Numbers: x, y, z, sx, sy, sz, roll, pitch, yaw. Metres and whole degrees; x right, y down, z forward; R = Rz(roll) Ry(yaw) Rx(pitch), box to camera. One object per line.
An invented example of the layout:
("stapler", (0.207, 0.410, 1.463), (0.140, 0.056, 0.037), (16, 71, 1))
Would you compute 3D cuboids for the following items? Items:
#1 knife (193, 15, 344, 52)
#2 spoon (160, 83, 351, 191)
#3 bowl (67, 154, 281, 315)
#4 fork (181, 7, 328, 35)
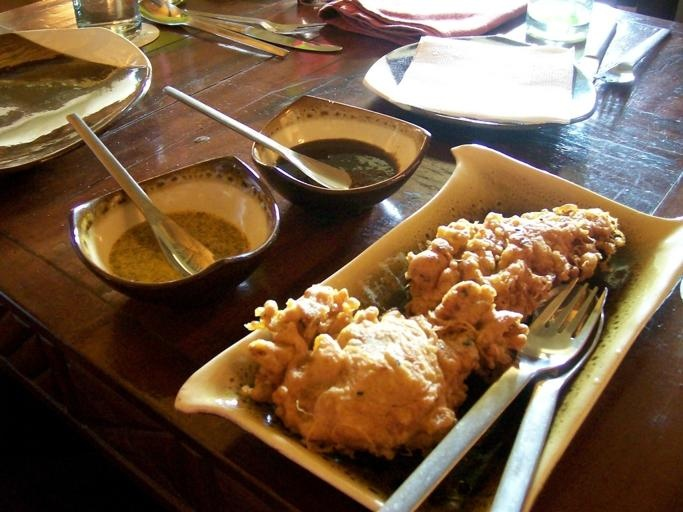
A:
("knife", (-0.186, -0.554, 1.283), (0.446, 0.032, 0.049), (15, 48, 16))
("spoon", (-0.145, -0.195, 0.854), (0.395, 0.056, 0.066), (31, 46, 8))
("bowl", (-0.166, -0.021, 0.639), (0.226, 0.084, 0.220), (1, 44, -1))
("fork", (-0.224, -0.615, 1.346), (0.496, 0.051, 0.053), (9, 50, 11))
